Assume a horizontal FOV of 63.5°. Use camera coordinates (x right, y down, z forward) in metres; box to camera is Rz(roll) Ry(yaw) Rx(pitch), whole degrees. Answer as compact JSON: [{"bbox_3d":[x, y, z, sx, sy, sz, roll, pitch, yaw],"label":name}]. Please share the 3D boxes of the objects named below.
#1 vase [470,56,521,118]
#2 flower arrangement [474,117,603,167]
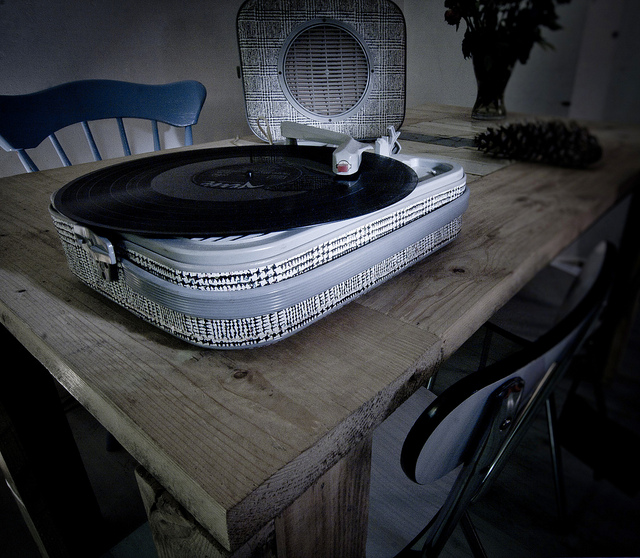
[{"bbox_3d":[0.460,-0.537,1.453,0.152,0.178,0.145,3,31,10],"label":"vase"},{"bbox_3d":[0.467,-0.276,1.124,0.246,0.119,0.122,4,-14,24],"label":"flower arrangement"}]
